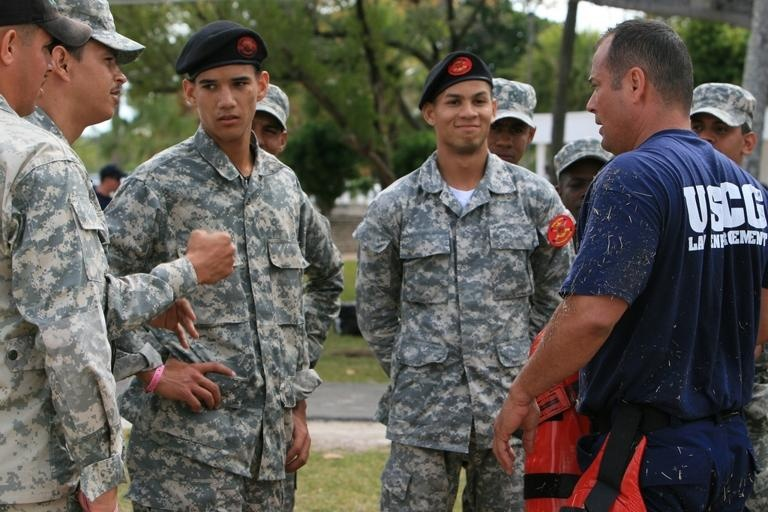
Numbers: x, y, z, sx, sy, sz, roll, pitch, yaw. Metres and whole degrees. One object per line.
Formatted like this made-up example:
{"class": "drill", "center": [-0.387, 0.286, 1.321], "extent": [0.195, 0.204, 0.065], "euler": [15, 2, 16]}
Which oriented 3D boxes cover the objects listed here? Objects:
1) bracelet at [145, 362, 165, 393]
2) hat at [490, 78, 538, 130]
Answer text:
{"class": "bracelet", "center": [-1.260, 0.666, 6.436], "extent": [0.034, 0.125, 0.117], "euler": [38, -42, -11]}
{"class": "hat", "center": [0.895, -1.047, 8.050], "extent": [0.277, 0.194, 0.356], "euler": [6, 6, -2]}
